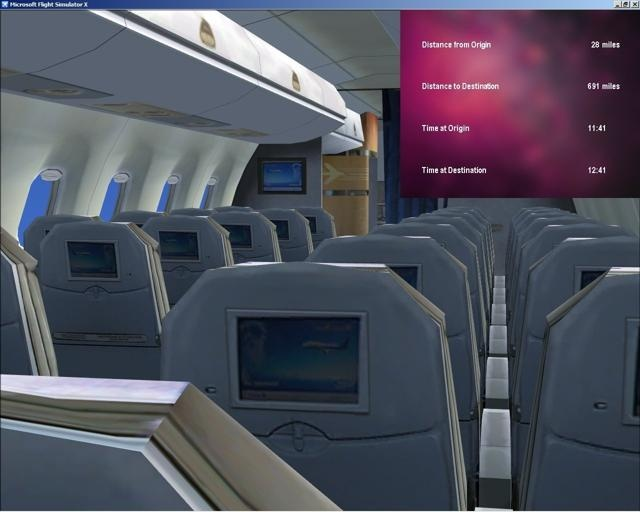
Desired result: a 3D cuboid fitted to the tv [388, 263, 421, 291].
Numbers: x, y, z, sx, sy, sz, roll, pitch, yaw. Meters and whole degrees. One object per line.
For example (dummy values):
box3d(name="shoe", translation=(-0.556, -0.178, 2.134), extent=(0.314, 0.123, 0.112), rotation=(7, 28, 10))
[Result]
box3d(name="tv", translation=(0.309, 0.075, 1.974), extent=(0.110, 0.091, 0.043), rotation=(0, -6, 5))

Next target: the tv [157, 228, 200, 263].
box3d(name="tv", translation=(-0.991, -0.087, 3.749), extent=(0.291, 0.179, 0.018), rotation=(0, 16, 8))

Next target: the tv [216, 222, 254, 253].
box3d(name="tv", translation=(-0.717, -0.173, 4.499), extent=(0.363, 0.265, 0.035), rotation=(0, 8, 6))

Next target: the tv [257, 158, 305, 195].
box3d(name="tv", translation=(-0.965, -2.082, 13.592), extent=(1.114, 0.679, 0.101), rotation=(0, 4, 16))

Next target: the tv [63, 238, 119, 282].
box3d(name="tv", translation=(-1.302, 0.011, 3.040), extent=(0.281, 0.201, 0.025), rotation=(3, 17, 6))

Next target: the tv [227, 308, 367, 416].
box3d(name="tv", translation=(-0.045, 0.238, 1.246), extent=(0.315, 0.193, 0.030), rotation=(1, 16, 8))

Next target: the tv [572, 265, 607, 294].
box3d(name="tv", translation=(0.831, 0.065, 1.651), extent=(0.120, 0.113, 0.014), rotation=(-1, 8, 4))
